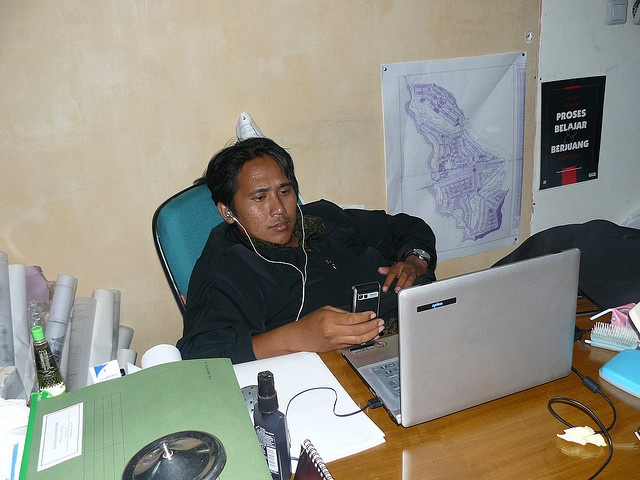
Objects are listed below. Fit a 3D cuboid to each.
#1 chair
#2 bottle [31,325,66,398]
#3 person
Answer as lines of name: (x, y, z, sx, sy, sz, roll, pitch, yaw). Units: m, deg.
chair: (-0.410, 0.019, 2.035, 0.363, 0.469, 0.384, -23, -8, -33)
bottle: (-0.671, 0.287, 1.265, 0.055, 0.158, 0.169, -14, 8, -32)
person: (-0.094, 0.030, 1.875, 0.469, 0.562, 0.787, -12, 8, 46)
